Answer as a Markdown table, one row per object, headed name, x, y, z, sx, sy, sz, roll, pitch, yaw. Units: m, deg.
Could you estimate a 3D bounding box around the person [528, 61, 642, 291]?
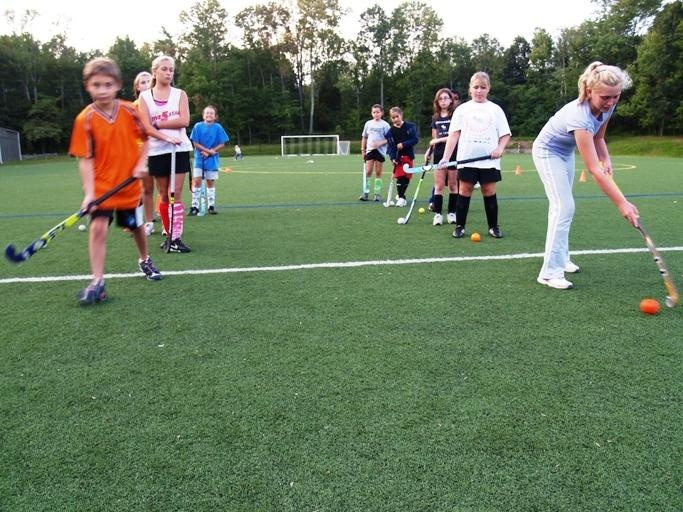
| name | x | y | z | sx | sy | sz | roll | pitch | yaw |
| --- | --- | --- | --- | --- | --- | --- | --- | --- | --- |
| person | 1.922 | -0.659 | 4.873 | 0.792 | 1.729 | 1.101 | 4 | 13 | 21 |
